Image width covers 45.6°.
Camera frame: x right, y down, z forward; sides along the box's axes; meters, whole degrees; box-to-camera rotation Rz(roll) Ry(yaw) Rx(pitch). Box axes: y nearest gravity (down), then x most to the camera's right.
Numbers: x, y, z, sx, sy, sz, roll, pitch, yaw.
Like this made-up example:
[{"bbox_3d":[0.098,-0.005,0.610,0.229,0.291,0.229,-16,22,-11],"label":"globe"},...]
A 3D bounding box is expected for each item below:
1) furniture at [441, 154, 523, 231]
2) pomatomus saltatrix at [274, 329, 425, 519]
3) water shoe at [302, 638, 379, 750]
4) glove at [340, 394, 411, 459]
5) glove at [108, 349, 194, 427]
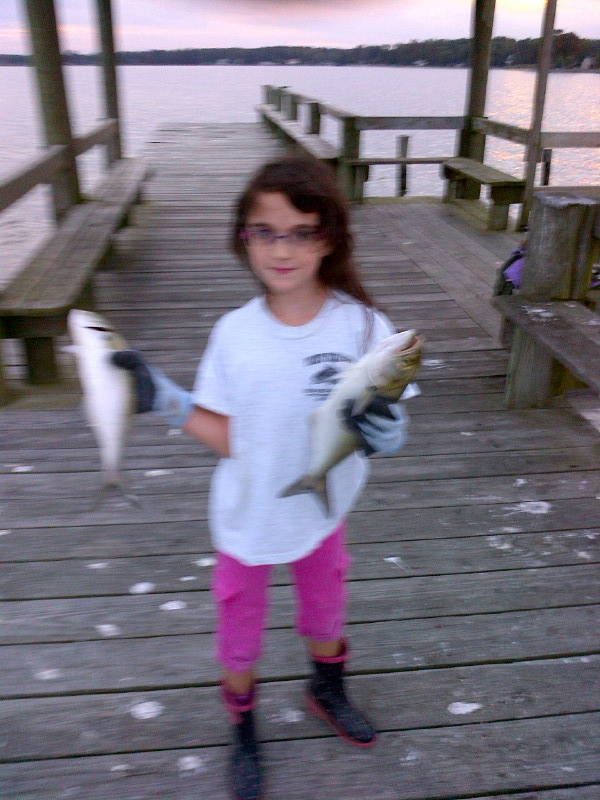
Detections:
[{"bbox_3d":[1.815,-2.150,7.354,0.453,0.591,1.755,1,31,-1],"label":"furniture"},{"bbox_3d":[0.074,0.033,1.239,0.162,0.413,0.106,30,30,-24],"label":"pomatomus saltatrix"},{"bbox_3d":[0.091,0.650,1.583,0.103,0.179,0.228,-17,25,-31],"label":"water shoe"},{"bbox_3d":[0.128,0.038,1.218,0.099,0.101,0.043,-1,24,-7],"label":"glove"},{"bbox_3d":[-0.240,-0.015,1.190,0.056,0.198,0.089,-6,56,22],"label":"glove"}]
